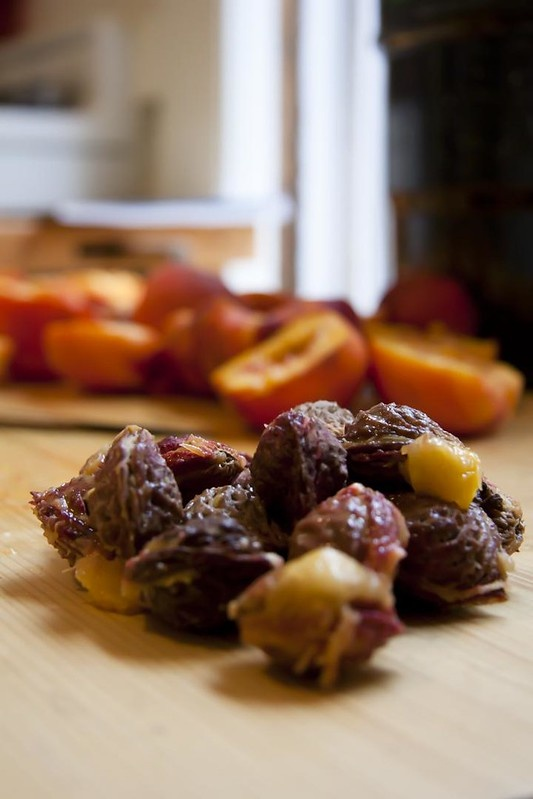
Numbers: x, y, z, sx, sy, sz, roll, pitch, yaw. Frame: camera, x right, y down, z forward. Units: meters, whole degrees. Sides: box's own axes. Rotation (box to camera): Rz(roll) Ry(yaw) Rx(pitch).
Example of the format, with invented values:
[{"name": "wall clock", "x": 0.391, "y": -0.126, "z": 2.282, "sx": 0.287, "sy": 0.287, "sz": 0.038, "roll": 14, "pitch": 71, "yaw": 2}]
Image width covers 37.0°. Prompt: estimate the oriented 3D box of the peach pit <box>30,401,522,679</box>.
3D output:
[{"name": "peach pit", "x": 0.018, "y": 0.029, "z": 0.345, "sx": 0.150, "sy": 0.053, "sz": 0.143, "roll": 2, "pitch": 11, "yaw": -4}]
